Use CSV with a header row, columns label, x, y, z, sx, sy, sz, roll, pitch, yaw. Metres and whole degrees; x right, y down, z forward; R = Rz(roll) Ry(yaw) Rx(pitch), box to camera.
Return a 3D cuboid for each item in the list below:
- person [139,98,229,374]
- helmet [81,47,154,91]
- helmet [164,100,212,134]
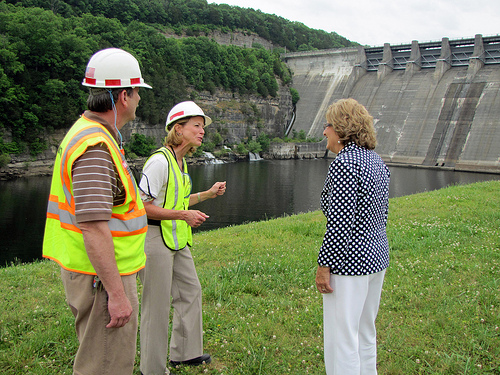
label,x,y,z,sx,sy,sz,roll,pitch,yaw
person,-0.946,0.629,6.590,0.823,3.480,1.147,9,10,37
helmet,-1.489,-1.314,5.612,0.620,0.355,0.492,-10,19,-26
helmet,-0.825,-0.999,6.761,0.532,0.277,0.424,-16,4,2
